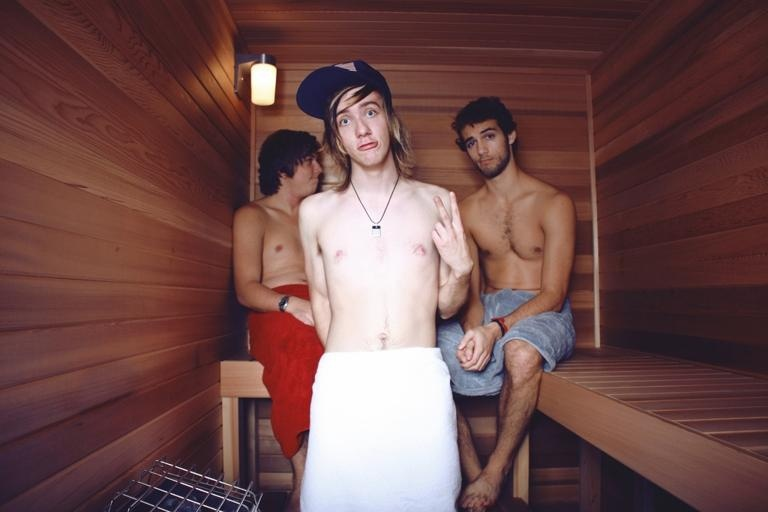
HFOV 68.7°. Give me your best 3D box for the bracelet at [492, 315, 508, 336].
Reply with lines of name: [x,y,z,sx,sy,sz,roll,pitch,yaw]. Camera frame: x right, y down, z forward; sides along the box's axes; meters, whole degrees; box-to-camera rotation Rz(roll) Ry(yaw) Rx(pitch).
bracelet: [0.586,0.344,2.774,0.042,0.049,0.122,-9,7,9]

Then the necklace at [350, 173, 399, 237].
necklace: [-0.032,-0.203,2.436,0.225,0.007,0.283,-8,58,12]

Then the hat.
hat: [-0.175,-0.755,2.511,0.385,0.259,0.181,12,62,-10]

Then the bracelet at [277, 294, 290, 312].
bracelet: [-0.497,0.232,2.795,0.047,0.078,0.077,8,-6,11]

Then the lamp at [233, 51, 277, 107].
lamp: [-0.730,-1.023,3.214,0.224,0.239,0.140,5,6,13]
